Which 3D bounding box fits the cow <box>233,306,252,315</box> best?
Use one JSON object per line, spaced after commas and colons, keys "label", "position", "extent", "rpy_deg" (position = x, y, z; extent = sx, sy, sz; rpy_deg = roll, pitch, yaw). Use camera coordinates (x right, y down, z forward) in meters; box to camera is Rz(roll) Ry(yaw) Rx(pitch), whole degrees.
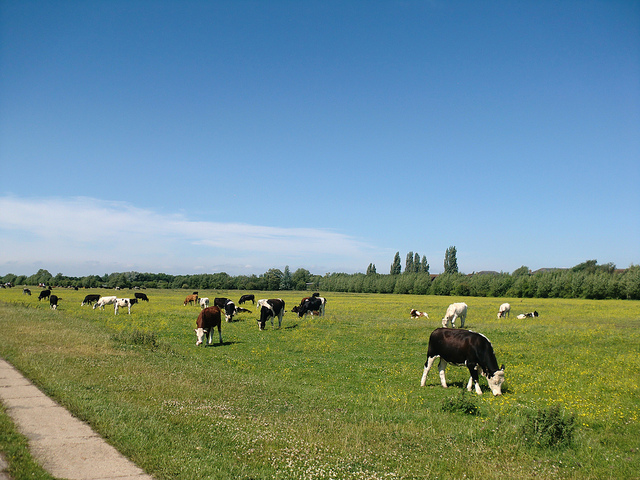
{"label": "cow", "position": [-9.288, 8.354, 58.658], "extent": [1.622, 0.770, 3.265], "rpy_deg": [5, -6, -13]}

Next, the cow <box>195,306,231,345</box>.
{"label": "cow", "position": [-8.019, 6.243, 36.443], "extent": [1.570, 2.544, 4.475], "rpy_deg": [4, -5, -1]}

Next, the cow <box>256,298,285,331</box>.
{"label": "cow", "position": [-4.340, 6.754, 44.413], "extent": [0.910, 2.782, 3.558], "rpy_deg": [4, 13, 33]}
